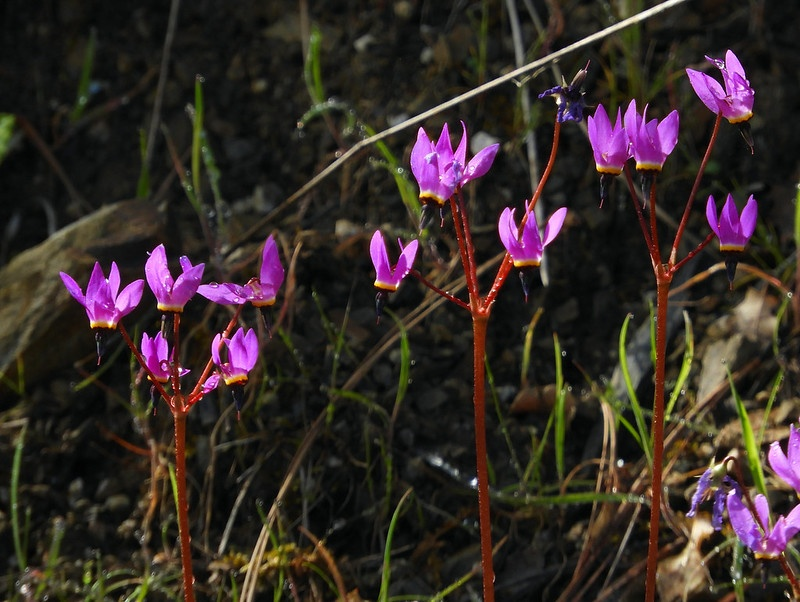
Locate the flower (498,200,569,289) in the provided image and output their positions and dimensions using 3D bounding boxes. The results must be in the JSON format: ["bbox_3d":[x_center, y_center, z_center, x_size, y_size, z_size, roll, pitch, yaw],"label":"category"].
[{"bbox_3d":[0.348,-0.138,2.417,0.128,0.260,0.179,-1,9,-16],"label":"flower"}]

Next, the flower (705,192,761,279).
[{"bbox_3d":[0.895,-0.169,2.466,0.107,0.260,0.118,-1,-9,31],"label":"flower"}]

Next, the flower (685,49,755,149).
[{"bbox_3d":[0.926,-0.577,2.493,0.244,0.137,0.203,-32,21,-24],"label":"flower"}]

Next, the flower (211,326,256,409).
[{"bbox_3d":[-0.440,0.182,2.451,0.088,0.223,0.107,0,4,15],"label":"flower"}]

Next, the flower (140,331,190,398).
[{"bbox_3d":[-0.670,0.162,2.503,0.161,0.140,0.210,5,2,-8],"label":"flower"}]

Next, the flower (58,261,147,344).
[{"bbox_3d":[-0.785,-0.002,2.455,0.184,0.180,0.209,2,-13,35],"label":"flower"}]

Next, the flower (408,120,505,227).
[{"bbox_3d":[0.132,-0.348,2.479,0.281,0.279,0.169,-27,25,-16],"label":"flower"}]

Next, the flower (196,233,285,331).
[{"bbox_3d":[-0.411,-0.047,2.509,0.257,0.178,0.224,-44,-16,-9],"label":"flower"}]

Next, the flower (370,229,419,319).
[{"bbox_3d":[-0.027,-0.073,2.442,0.106,0.236,0.111,5,-2,30],"label":"flower"}]

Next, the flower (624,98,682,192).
[{"bbox_3d":[0.674,-0.401,2.482,0.136,0.281,0.139,0,2,-19],"label":"flower"}]

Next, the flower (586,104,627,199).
[{"bbox_3d":[0.562,-0.389,2.468,0.090,0.219,0.112,-7,-16,42],"label":"flower"}]

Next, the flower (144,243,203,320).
[{"bbox_3d":[-0.595,-0.061,2.426,0.149,0.144,0.147,2,4,-35],"label":"flower"}]
